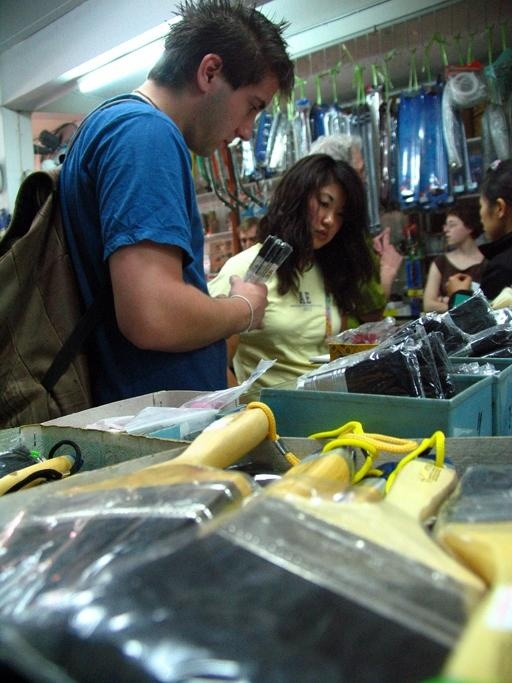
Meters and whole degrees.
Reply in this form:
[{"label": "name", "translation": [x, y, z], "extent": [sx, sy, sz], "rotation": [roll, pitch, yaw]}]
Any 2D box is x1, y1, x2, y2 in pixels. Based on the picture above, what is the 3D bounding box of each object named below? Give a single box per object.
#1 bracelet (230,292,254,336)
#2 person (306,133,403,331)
[{"label": "bracelet", "translation": [-0.031, -0.070, 1.191], "extent": [0.024, 0.078, 0.084], "rotation": [-5, 17, -18]}, {"label": "person", "translation": [0.588, -0.639, 2.647], "extent": [0.311, 1.046, 0.340], "rotation": [13, 40, 41]}]
